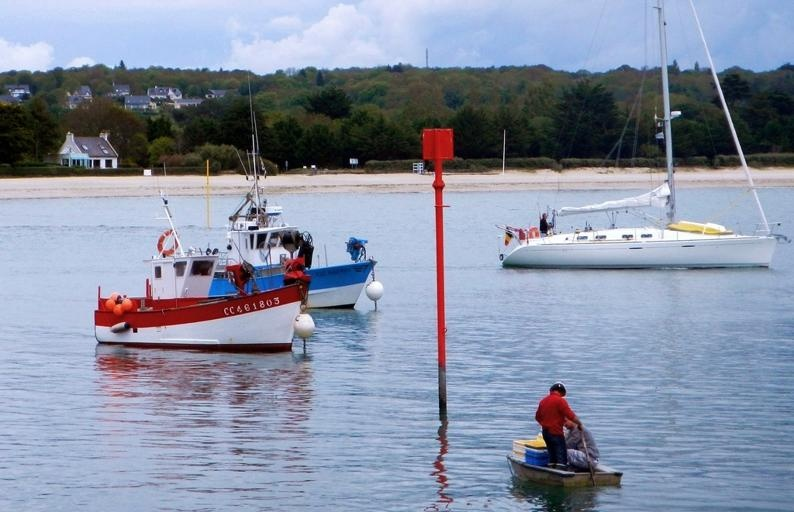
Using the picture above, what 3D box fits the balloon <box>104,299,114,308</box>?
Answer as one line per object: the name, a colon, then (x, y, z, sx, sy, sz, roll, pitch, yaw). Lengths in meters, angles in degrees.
balloon: (-18.908, 3.163, 108.783, 0.710, 0.655, 0.397, 1, 8, 38)
